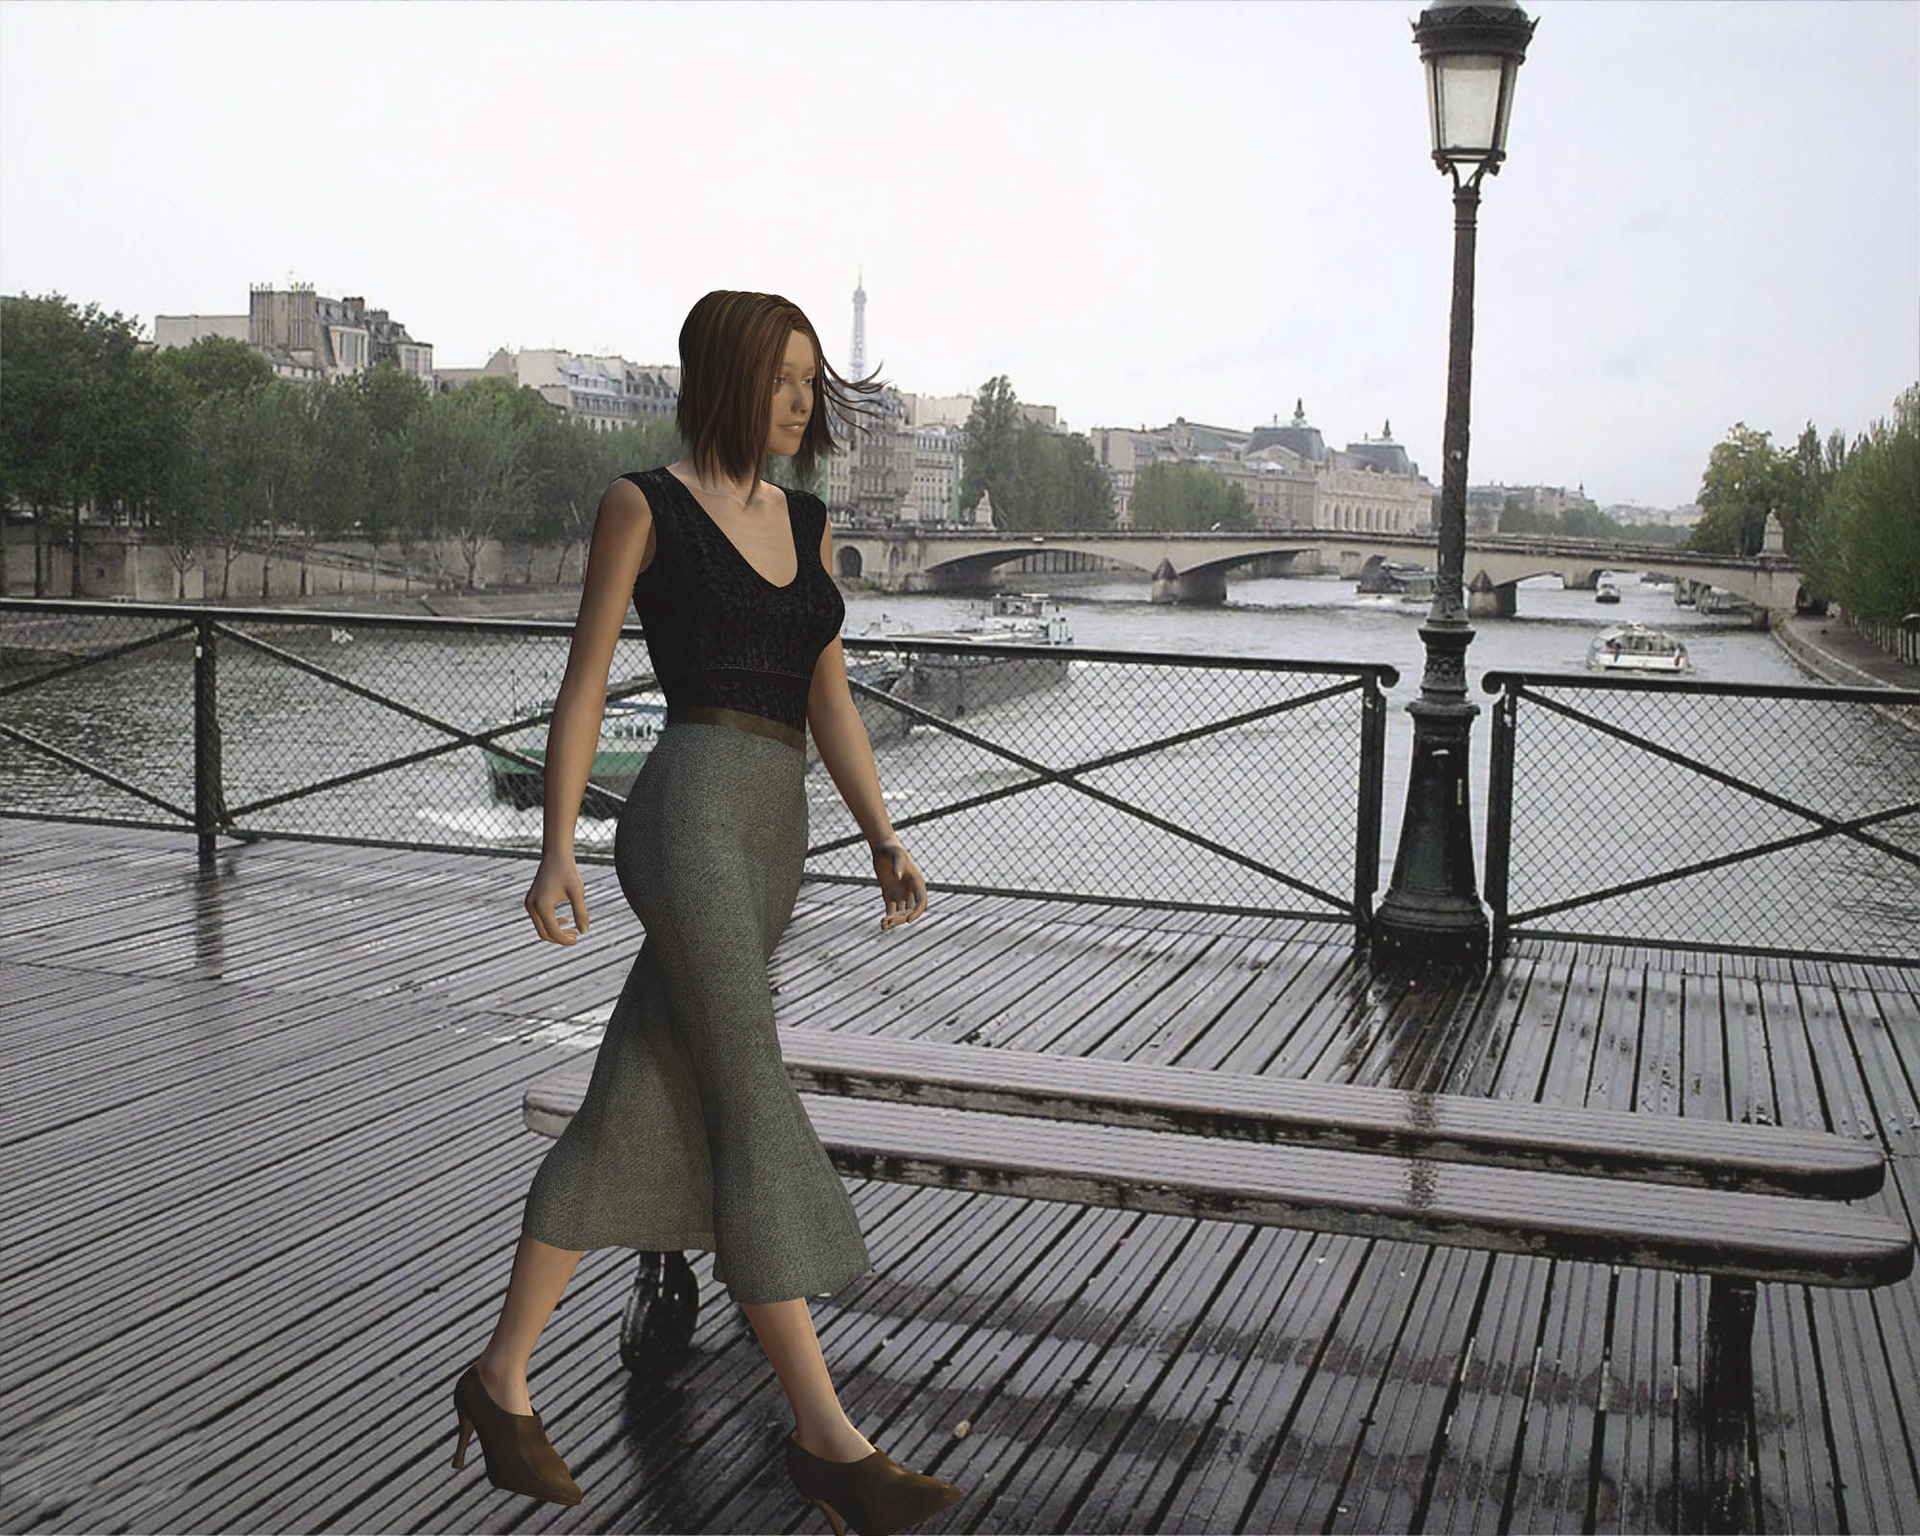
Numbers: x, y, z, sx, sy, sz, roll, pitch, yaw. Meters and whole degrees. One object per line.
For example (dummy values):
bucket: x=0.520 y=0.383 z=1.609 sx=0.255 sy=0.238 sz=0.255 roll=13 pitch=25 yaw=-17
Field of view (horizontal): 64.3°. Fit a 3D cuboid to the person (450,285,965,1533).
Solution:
person: x=-0.406 y=0.219 z=2.360 sx=0.702 sy=1.916 sz=0.393 roll=-1 pitch=6 yaw=-15
